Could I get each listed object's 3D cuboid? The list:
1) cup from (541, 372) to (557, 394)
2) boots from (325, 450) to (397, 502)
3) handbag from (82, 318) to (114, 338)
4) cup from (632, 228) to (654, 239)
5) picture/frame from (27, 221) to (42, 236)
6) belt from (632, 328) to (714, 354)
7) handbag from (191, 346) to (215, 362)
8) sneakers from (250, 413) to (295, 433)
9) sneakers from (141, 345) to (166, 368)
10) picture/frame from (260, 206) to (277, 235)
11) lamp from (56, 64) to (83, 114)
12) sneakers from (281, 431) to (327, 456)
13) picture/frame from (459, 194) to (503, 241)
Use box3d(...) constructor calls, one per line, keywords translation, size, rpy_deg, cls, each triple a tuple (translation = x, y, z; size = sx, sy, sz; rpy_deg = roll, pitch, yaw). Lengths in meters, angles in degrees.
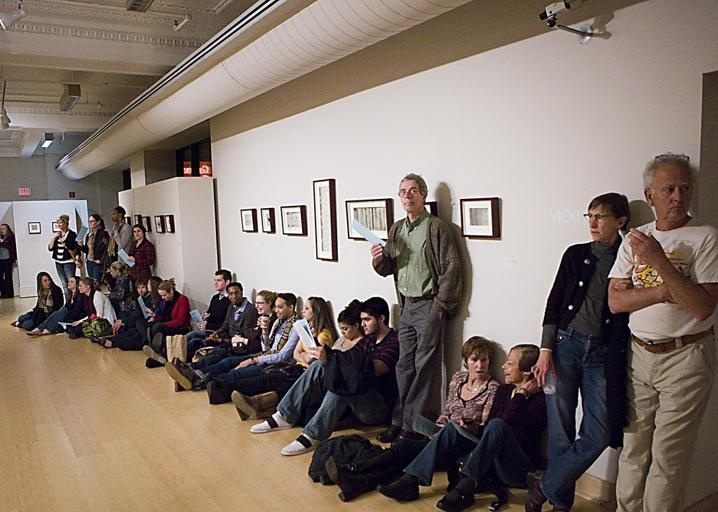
box3d(translation=(1.308, 0.882, 3.394), size=(0.107, 0.153, 0.051), rpy_deg=(3, 1, 8), cls="cup")
box3d(translation=(0.055, 1.706, 3.868), size=(0.693, 0.306, 0.240), rpy_deg=(15, 5, -34), cls="boots")
box3d(translation=(-4.426, 1.200, 8.358), size=(0.339, 0.315, 0.438), rpy_deg=(-3, 5, -26), cls="handbag")
box3d(translation=(1.663, -0.129, 2.890), size=(0.057, 0.061, 0.116), rpy_deg=(0, 18, 5), cls="cup")
box3d(translation=(-8.857, -0.744, 13.471), size=(0.394, 0.464, 0.030), rpy_deg=(-5, -3, -38), cls="picture/frame")
box3d(translation=(1.878, 0.530, 2.977), size=(0.240, 0.059, 0.244), rpy_deg=(-10, -1, -39), cls="belt")
box3d(translation=(-2.047, 1.325, 6.519), size=(0.248, 0.186, 0.251), rpy_deg=(-18, -6, -1), cls="handbag")
box3d(translation=(-0.856, 1.664, 4.925), size=(0.480, 0.207, 0.174), rpy_deg=(4, -6, -17), cls="sneakers")
box3d(translation=(-2.868, 1.424, 6.945), size=(0.355, 0.130, 0.148), rpy_deg=(36, 25, -26), cls="sneakers")
box3d(translation=(-1.315, -0.528, 7.256), size=(0.128, 0.418, 0.441), rpy_deg=(0, -1, -23), cls="picture/frame")
box3d(translation=(-5.212, -3.037, 8.895), size=(0.384, 0.266, 1.613), rpy_deg=(15, 4, -34), cls="lamp")
box3d(translation=(-0.481, 1.718, 4.537), size=(0.428, 0.172, 0.155), rpy_deg=(3, -6, -36), cls="sneakers")
box3d(translation=(1.046, -0.328, 4.288), size=(0.045, 0.352, 0.407), rpy_deg=(-7, 7, -32), cls="picture/frame")
